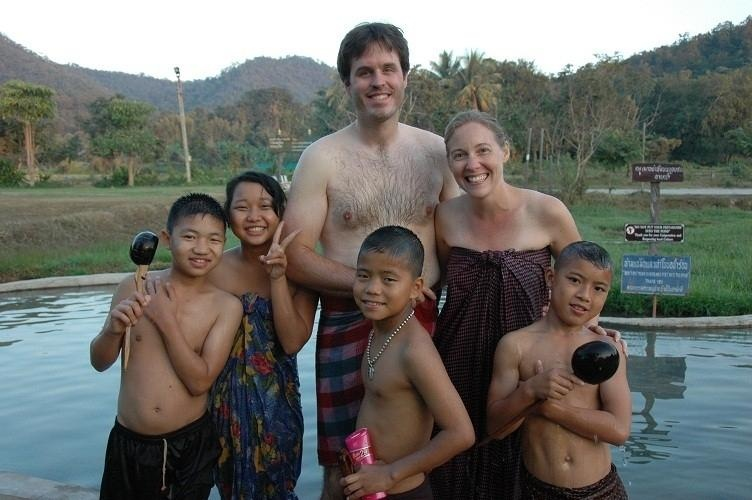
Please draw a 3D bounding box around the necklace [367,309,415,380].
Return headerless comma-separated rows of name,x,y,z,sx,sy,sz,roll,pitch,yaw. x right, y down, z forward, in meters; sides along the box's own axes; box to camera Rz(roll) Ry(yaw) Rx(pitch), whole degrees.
necklace,0.064,0.688,4.530,0.093,0.478,0.342,20,-11,-32
